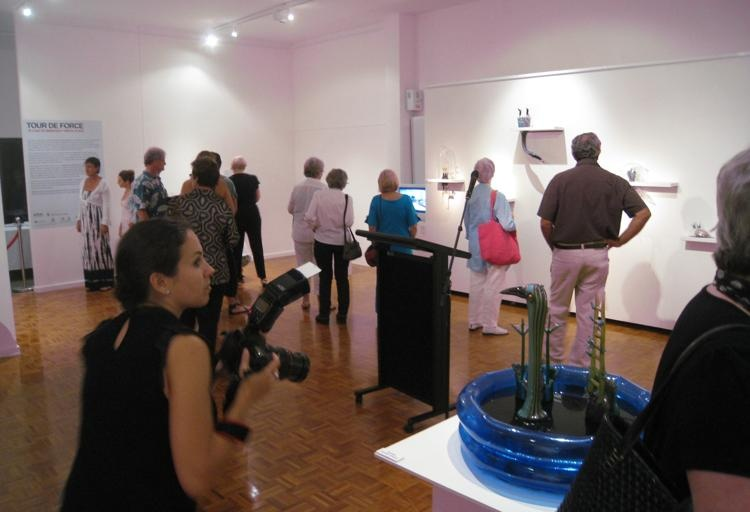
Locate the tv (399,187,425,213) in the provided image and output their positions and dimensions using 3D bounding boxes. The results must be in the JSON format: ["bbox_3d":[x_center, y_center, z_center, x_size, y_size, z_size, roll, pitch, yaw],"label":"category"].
[{"bbox_3d":[0.490,-0.727,6.785,0.216,0.380,0.420,-10,16,-38],"label":"tv"}]

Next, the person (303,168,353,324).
[{"bbox_3d":[-0.482,0.021,5.933,0.523,1.551,0.413,2,8,10],"label":"person"}]

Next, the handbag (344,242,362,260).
[{"bbox_3d":[-0.247,-0.064,5.710,0.069,0.197,0.184,0,10,38],"label":"handbag"}]

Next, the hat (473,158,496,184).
[{"bbox_3d":[1.135,-0.912,5.498,0.187,0.271,0.260,-3,27,13],"label":"hat"}]

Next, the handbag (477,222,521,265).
[{"bbox_3d":[1.298,-0.182,5.530,0.422,0.607,0.252,3,-13,-20],"label":"handbag"}]

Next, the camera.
[{"bbox_3d":[-0.329,0.279,1.728,0.108,0.306,0.281,21,6,42],"label":"camera"}]

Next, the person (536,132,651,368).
[{"bbox_3d":[1.775,-0.214,4.442,0.781,1.610,0.337,4,9,27],"label":"person"}]

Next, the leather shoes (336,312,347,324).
[{"bbox_3d":[-0.389,0.712,6.109,0.072,0.097,0.137,3,15,7],"label":"leather shoes"}]

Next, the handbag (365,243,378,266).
[{"bbox_3d":[-0.047,0.003,4.932,0.112,0.200,0.150,3,-33,-6],"label":"handbag"}]
